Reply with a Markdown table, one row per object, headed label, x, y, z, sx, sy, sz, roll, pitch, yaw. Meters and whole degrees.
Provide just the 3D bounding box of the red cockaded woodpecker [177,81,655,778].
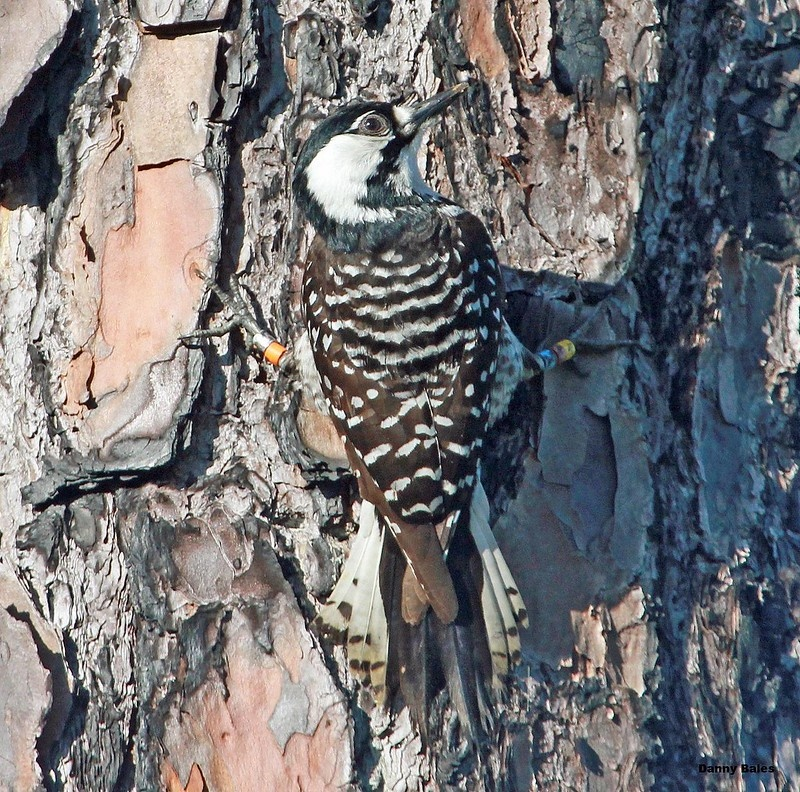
| label | x | y | z | sx | sy | sz | roll | pitch | yaw |
| --- | --- | --- | --- | --- | --- | --- | --- | --- | --- |
| red cockaded woodpecker | -0.035 | 0.019 | 9.312 | 1.003 | 0.980 | 3.267 | 13 | -68 | 34 |
